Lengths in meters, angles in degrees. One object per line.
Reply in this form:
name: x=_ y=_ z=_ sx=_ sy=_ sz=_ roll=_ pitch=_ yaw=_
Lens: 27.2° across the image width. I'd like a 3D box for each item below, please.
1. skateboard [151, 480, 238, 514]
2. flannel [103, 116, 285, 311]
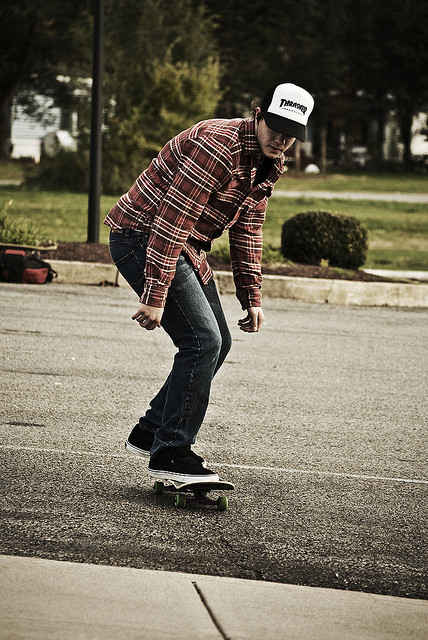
skateboard: x=-0.091 y=0.713 z=3.842 sx=0.385 sy=0.137 sz=0.356 roll=4 pitch=3 yaw=1
flannel: x=-0.085 y=-0.473 z=3.729 sx=0.637 sy=0.801 sz=0.600 roll=-2 pitch=26 yaw=-40
